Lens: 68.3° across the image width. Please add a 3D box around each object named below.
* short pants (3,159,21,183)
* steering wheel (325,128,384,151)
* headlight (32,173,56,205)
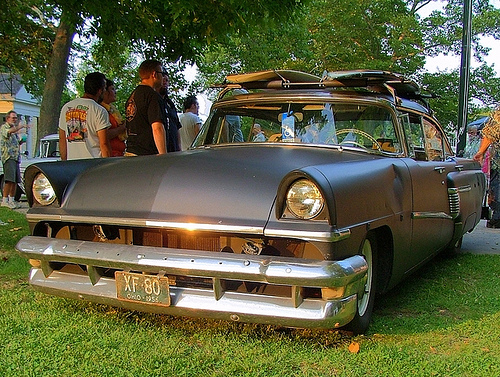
[{"bbox_3d":[-6.599,-0.484,10.172,0.526,0.694,0.409,9,15,32],"label":"short pants"},{"bbox_3d":[1.007,-0.422,3.557,0.439,0.236,0.510,2,0,23],"label":"steering wheel"},{"bbox_3d":[-1.690,0.007,3.065,0.201,0.262,0.069,3,3,23],"label":"headlight"}]
